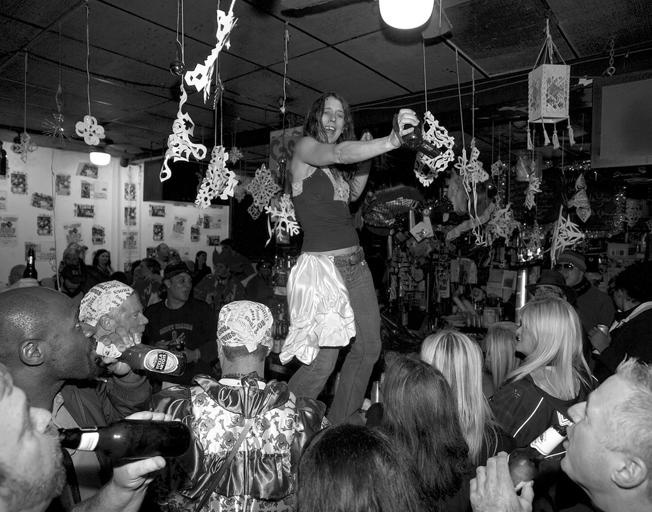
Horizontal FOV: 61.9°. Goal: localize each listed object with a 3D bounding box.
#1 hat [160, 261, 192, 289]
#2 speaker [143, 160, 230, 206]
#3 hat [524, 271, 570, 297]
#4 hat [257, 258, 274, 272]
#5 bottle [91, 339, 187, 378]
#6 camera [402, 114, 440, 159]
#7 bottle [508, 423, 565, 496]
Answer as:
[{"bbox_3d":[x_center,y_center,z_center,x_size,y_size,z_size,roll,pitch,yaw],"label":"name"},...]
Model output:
[{"bbox_3d":[-1.133,0.144,4.084,0.166,0.126,0.237,-1,-14,-33],"label":"hat"},{"bbox_3d":[-2.307,-1.136,8.156,1.290,0.633,0.572,1,1,32],"label":"speaker"},{"bbox_3d":[1.755,0.210,4.276,0.229,0.114,0.279,13,-8,28],"label":"hat"},{"bbox_3d":[-0.856,0.188,7.526,0.240,0.309,0.110,5,3,-22],"label":"hat"},{"bbox_3d":[-0.758,0.432,2.321,0.107,0.138,0.453,18,-9,44],"label":"bottle"},{"bbox_3d":[0.461,-0.537,2.585,0.158,0.111,0.227,7,5,23],"label":"camera"},{"bbox_3d":[0.737,0.724,1.938,0.210,0.259,0.180,1,1,1],"label":"bottle"}]
